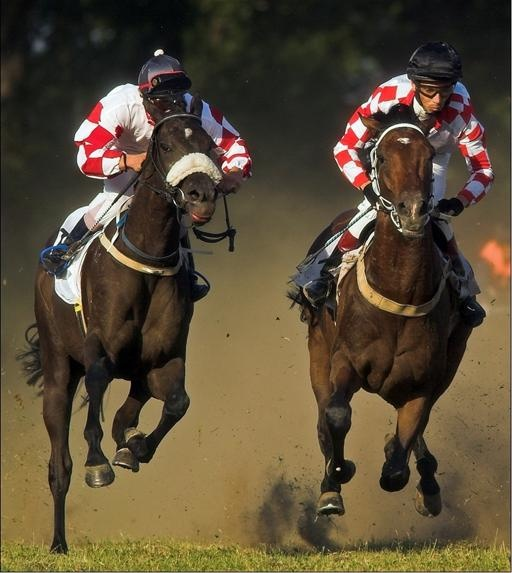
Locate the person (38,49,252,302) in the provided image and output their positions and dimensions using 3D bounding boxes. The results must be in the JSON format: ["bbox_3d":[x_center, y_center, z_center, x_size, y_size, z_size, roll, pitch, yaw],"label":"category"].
[{"bbox_3d":[-0.678,-0.656,5.417,1.202,1.159,1.969,0,-2,-21],"label":"person"}]

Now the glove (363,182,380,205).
[{"bbox_3d":[0.546,-0.442,4.125,0.029,0.097,0.084,-22,-6,28],"label":"glove"}]

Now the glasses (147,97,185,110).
[{"bbox_3d":[-0.472,-0.944,4.491,0.101,0.041,0.132,-6,9,-42],"label":"glasses"}]

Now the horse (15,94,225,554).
[{"bbox_3d":[-0.712,0.261,4.837,0.778,2.586,2.014,2,-8,-21],"label":"horse"}]

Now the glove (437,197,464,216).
[{"bbox_3d":[1.035,-0.430,4.585,0.135,0.048,0.092,27,-34,-19],"label":"glove"}]

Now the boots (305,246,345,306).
[{"bbox_3d":[0.382,-0.066,5.172,0.239,0.353,0.104,15,26,-45],"label":"boots"}]

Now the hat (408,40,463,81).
[{"bbox_3d":[0.942,-1.191,4.564,0.227,0.121,0.269,2,16,-2],"label":"hat"}]

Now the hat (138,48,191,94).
[{"bbox_3d":[-0.512,-1.157,4.676,0.248,0.329,0.314,1,-7,-14],"label":"hat"}]

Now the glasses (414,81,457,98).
[{"bbox_3d":[0.941,-1.054,4.585,0.202,0.089,0.141,-2,-6,10],"label":"glasses"}]
